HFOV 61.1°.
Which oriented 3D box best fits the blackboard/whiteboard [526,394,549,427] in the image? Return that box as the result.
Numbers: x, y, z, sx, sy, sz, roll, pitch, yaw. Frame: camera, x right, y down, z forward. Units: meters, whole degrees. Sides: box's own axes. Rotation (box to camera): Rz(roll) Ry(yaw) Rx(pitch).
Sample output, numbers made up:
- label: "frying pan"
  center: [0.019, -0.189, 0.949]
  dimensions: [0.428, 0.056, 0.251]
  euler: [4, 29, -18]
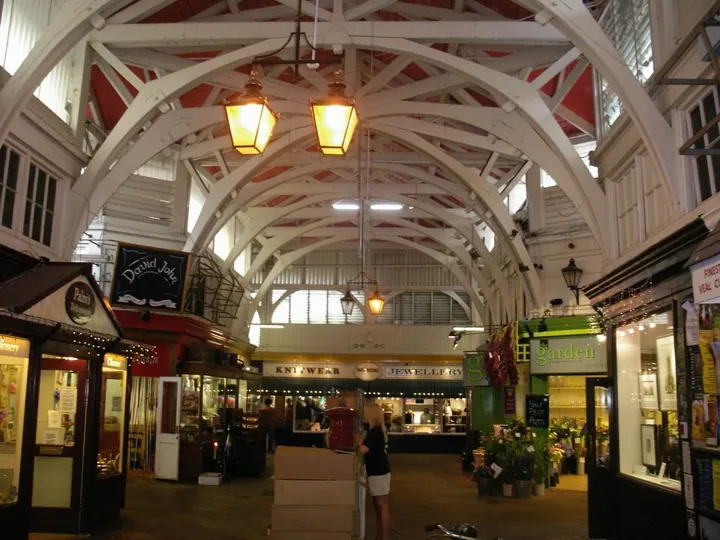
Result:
- label: "blackboard/whiteboard"
  center: [4.420, 3.530, 15.192]
  dimensions: [0.702, 0.992, 0.101]
  euler: [-3, -22, 19]

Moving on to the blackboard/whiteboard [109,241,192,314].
- label: "blackboard/whiteboard"
  center: [-5.050, 0.176, 14.679]
  dimensions: [1.687, 1.454, 0.434]
  euler: [6, -16, -22]
